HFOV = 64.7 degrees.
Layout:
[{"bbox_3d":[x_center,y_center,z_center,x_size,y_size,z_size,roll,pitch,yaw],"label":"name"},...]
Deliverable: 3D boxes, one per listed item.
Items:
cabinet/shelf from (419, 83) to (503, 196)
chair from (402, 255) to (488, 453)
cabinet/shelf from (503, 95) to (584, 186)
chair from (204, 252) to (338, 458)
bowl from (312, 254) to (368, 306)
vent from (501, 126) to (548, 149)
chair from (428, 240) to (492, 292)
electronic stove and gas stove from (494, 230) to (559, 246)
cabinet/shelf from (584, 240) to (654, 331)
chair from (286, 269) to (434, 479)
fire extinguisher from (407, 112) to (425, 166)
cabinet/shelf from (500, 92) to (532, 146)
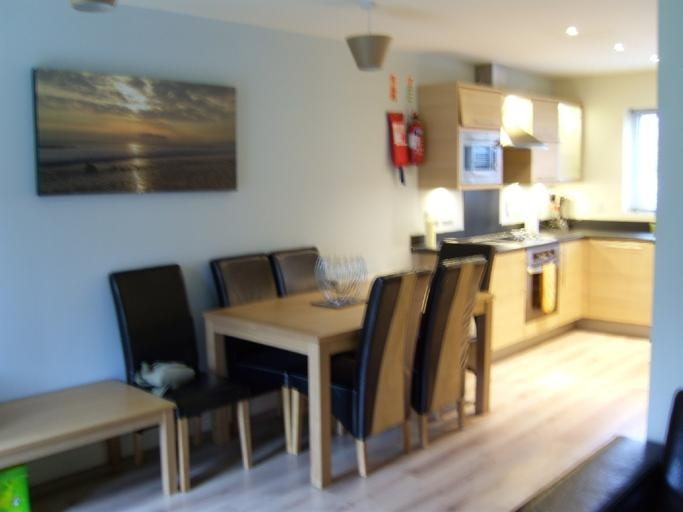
[{"bbox_3d":[1.202,-1.178,5.465,0.565,1.013,0.997,8,13,38],"label":"cabinet/shelf"},{"bbox_3d":[0.512,0.579,3.689,0.720,1.115,0.720,4,4,28],"label":"chair"},{"bbox_3d":[2.448,-1.340,6.234,0.387,0.965,1.043,-18,21,-30],"label":"cabinet/shelf"},{"bbox_3d":[-0.451,0.667,3.927,0.865,1.298,1.017,5,5,31],"label":"chair"},{"bbox_3d":[-0.012,0.146,3.601,0.318,0.329,0.325,-1,-1,0],"label":"bowl"},{"bbox_3d":[1.878,-1.235,5.586,0.419,0.215,0.250,-4,9,-18],"label":"vent"},{"bbox_3d":[0.955,-0.027,4.271,0.494,0.523,0.381,5,7,22],"label":"chair"},{"bbox_3d":[1.967,-0.181,5.748,0.626,0.092,1.185,2,9,23],"label":"electronic stove and gas stove"},{"bbox_3d":[3.081,0.418,6.126,0.713,1.051,0.715,7,-26,17],"label":"cabinet/shelf"},{"bbox_3d":[0.108,0.668,3.364,0.605,1.146,0.747,-4,8,-41],"label":"chair"},{"bbox_3d":[0.702,-1.128,5.145,0.148,0.496,0.204,2,9,19],"label":"fire extinguisher"},{"bbox_3d":[1.855,-1.459,5.766,0.500,0.522,0.132,-1,6,-41],"label":"cabinet/shelf"}]
